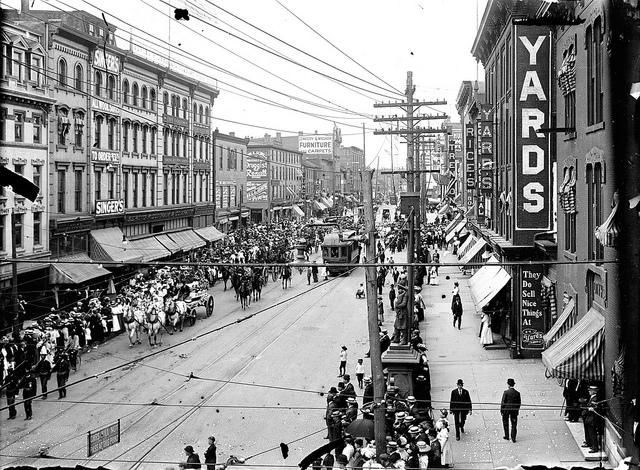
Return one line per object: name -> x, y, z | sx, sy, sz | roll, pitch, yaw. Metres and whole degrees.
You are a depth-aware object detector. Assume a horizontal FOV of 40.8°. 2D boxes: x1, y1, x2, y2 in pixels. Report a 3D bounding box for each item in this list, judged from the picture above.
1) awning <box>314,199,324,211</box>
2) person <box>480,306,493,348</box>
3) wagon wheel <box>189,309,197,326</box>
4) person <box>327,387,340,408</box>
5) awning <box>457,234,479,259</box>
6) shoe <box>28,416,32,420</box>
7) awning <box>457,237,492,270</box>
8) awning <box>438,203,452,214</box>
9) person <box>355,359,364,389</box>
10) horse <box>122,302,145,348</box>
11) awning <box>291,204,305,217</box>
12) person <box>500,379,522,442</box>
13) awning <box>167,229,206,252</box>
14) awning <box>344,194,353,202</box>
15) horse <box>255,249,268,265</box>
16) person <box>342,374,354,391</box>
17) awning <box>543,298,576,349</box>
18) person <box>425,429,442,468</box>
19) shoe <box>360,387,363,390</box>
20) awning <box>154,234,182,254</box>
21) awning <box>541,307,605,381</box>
awning -> -0.419, -4.704, 141.390 | 1.132, 2.041, 5.373 | 0, 7, 4
person -> 7.911, 4.470, 41.233 | 0.570, 1.710, 0.634 | 2, 7, 22
wagon wheel -> -6.810, 4.385, 45.861 | 0.311, 0.878, 1.038 | -2, 7, -11
person -> 0.444, 5.785, 30.689 | 0.403, 0.602, 1.252 | 0, 7, 0
awning -> 10.112, 0.801, 59.236 | 0.231, 1.376, 1.907 | 35, -27, -2
shoe -> -10.798, 6.820, 32.011 | 0.176, 0.036, 0.046 | -19, 41, -38
awning -> 9.240, 1.088, 54.342 | 1.937, 1.633, 0.728 | -22, -46, 21
awning -> 15.421, -3.232, 106.700 | 0.273, 1.016, 1.039 | 26, -1, -16
person -> 1.596, 5.671, 35.024 | 0.306, 1.152, 0.702 | 0, 7, 3
horse -> -9.004, 4.370, 41.639 | 1.000, 1.969, 2.077 | -2, 7, -13
awning -> -3.357, -3.764, 122.821 | 1.395, 1.338, 2.697 | 0, 7, 7
person -> 6.581, 6.081, 30.035 | 0.648, 2.078, 1.181 | 1, 7, 13
awning -> -10.123, 0.360, 65.569 | 1.256, 0.857, 3.145 | 20, 16, 6
awning -> 5.805, -7.816, 184.133 | 0.831, 1.974, 5.691 | 1, 8, 7
horse -> -4.383, 1.721, 64.388 | 1.553, 0.791, 2.172 | -1, 1, -5
person -> 1.033, 5.507, 31.980 | 0.400, 0.742, 0.631 | -1, -3, -6
awning -> 9.417, 3.463, 33.874 | 0.890, 1.725, 2.373 | -3, 3, 20
person -> 3.620, 7.019, 27.633 | 0.519, 1.101, 0.941 | 1, 7, 9
shoe -> 1.633, 6.229, 34.932 | 0.183, 0.110, 0.106 | -2, 0, 20
awning -> -10.887, 0.611, 61.719 | 1.142, 0.409, 1.648 | 2, 29, -35
awning -> 9.032, 3.702, 30.625 | 1.649, 2.214, 3.267 | 0, 11, 9
